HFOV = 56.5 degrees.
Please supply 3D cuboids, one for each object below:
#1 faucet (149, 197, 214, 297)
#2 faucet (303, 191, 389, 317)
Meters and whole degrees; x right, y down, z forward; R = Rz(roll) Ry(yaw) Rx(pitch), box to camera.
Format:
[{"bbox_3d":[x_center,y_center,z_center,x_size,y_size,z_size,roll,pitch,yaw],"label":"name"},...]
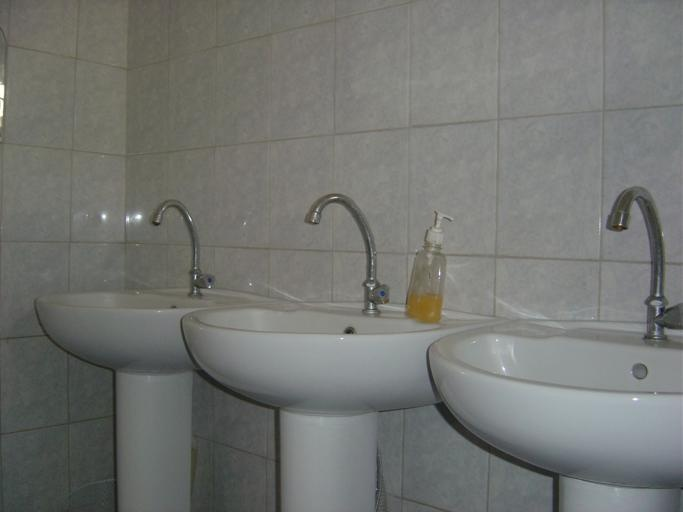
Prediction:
[{"bbox_3d":[-0.480,-0.024,1.979,0.179,0.284,0.437,2,0,-12],"label":"faucet"},{"bbox_3d":[0.033,-0.006,1.619,0.184,0.299,0.301,2,0,12],"label":"faucet"}]
